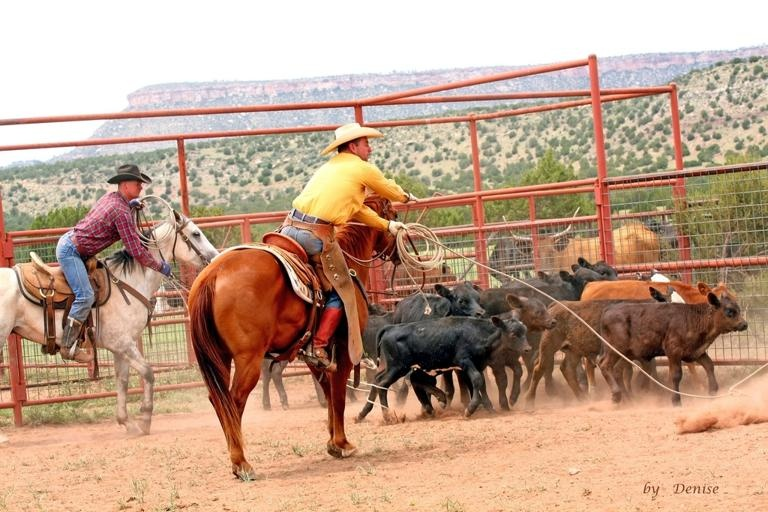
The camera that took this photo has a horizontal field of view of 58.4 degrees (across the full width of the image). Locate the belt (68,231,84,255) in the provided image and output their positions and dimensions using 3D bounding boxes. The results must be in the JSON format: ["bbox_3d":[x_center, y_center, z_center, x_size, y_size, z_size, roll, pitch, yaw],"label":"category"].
[{"bbox_3d":[-4.804,-0.196,10.758,0.161,0.389,0.149,-5,1,-24],"label":"belt"}]

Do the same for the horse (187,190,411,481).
[{"bbox_3d":[-1.155,1.255,9.695,3.964,3.638,1.177,5,-13,-44],"label":"horse"}]

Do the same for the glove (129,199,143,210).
[{"bbox_3d":[-4.110,-0.855,11.388,0.129,0.172,0.085,14,-3,11],"label":"glove"}]

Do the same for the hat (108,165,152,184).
[{"bbox_3d":[-4.151,-1.345,11.121,0.539,0.220,0.431,-5,-3,11],"label":"hat"}]

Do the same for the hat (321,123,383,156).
[{"bbox_3d":[-0.443,-1.619,9.198,0.628,0.224,0.573,-30,-1,-26],"label":"hat"}]

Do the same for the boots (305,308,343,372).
[{"bbox_3d":[-0.728,0.973,8.780,0.509,1.002,0.282,10,37,2],"label":"boots"}]
